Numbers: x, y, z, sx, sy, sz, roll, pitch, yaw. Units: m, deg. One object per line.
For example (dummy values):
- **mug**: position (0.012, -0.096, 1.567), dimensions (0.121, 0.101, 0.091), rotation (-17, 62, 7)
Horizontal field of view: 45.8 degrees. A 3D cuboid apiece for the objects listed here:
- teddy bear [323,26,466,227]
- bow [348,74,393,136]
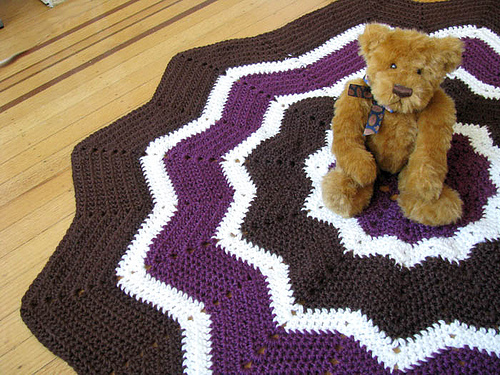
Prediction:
- **teddy bear**: position (0.514, -0.180, 2.038), dimensions (0.541, 0.667, 0.449), rotation (7, 49, 12)
- **bow**: position (0.417, -0.270, 2.072), dimensions (0.185, 0.061, 0.180), rotation (-28, 80, 44)
